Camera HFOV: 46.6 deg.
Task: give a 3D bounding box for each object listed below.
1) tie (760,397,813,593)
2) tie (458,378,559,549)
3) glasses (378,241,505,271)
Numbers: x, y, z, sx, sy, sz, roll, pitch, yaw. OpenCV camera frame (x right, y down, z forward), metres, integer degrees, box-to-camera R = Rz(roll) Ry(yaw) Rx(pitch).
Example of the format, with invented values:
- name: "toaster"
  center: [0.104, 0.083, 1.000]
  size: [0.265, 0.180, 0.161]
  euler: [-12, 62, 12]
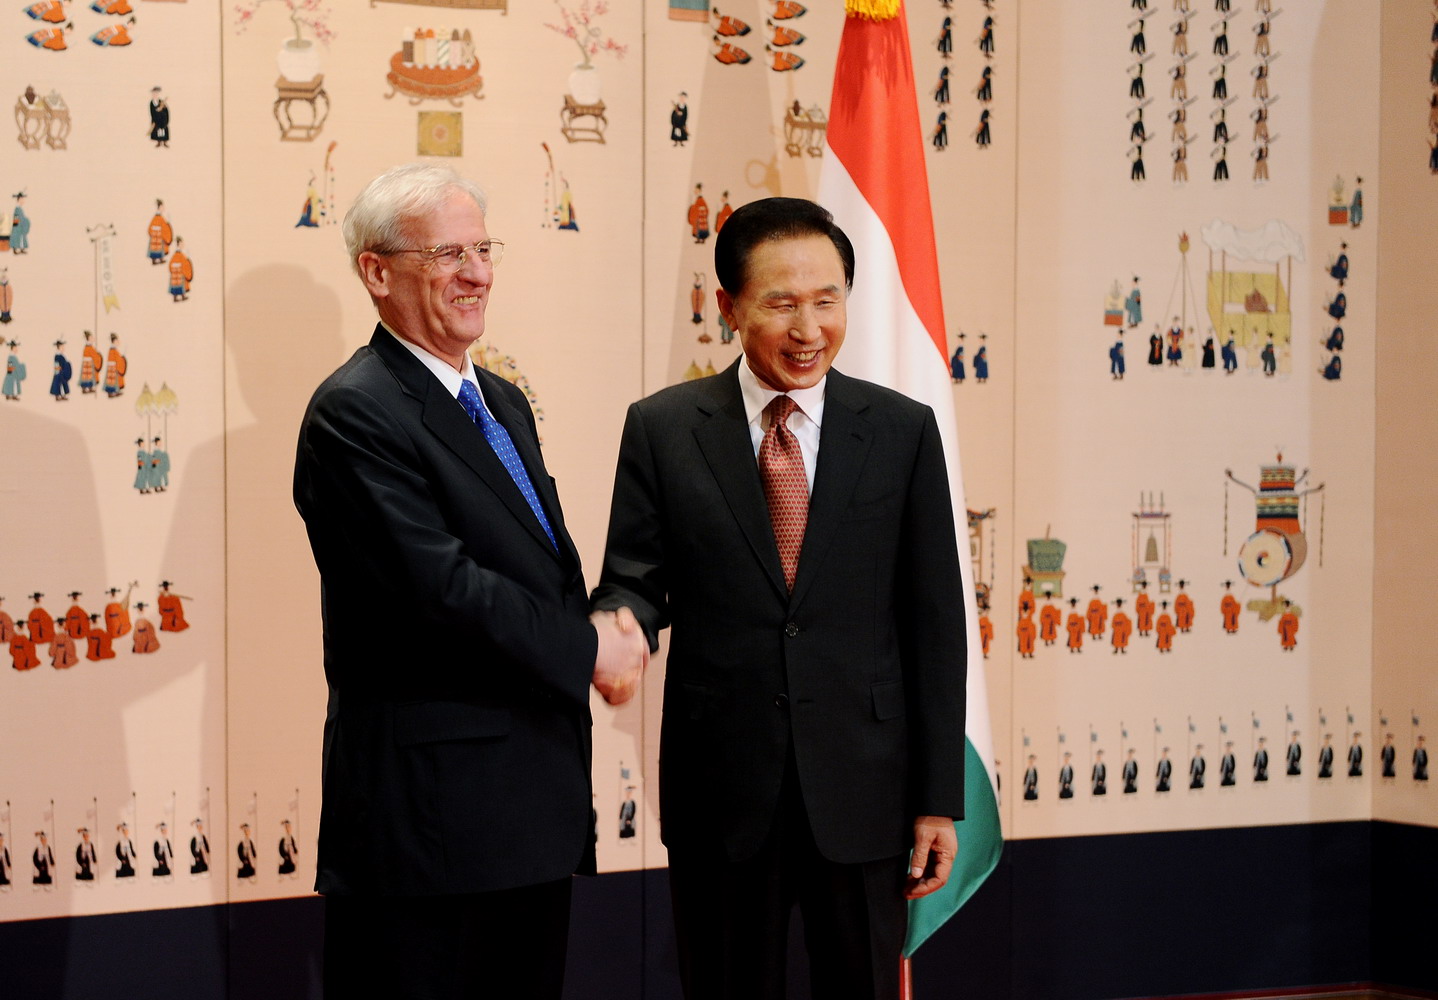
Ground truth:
- name: "tie"
  center: [0.155, -0.038, 3.947]
  size: [0.088, 0.508, 0.024]
  euler: [-3, -9, 2]
- name: "tie"
  center: [-0.523, -0.085, 4.049]
  size: [0.028, 0.513, 0.069]
  euler: [-40, -24, 32]
- name: "glasses"
  center: [-0.674, -0.583, 3.956]
  size: [0.126, 0.039, 0.126]
  euler: [-5, -3, 41]
